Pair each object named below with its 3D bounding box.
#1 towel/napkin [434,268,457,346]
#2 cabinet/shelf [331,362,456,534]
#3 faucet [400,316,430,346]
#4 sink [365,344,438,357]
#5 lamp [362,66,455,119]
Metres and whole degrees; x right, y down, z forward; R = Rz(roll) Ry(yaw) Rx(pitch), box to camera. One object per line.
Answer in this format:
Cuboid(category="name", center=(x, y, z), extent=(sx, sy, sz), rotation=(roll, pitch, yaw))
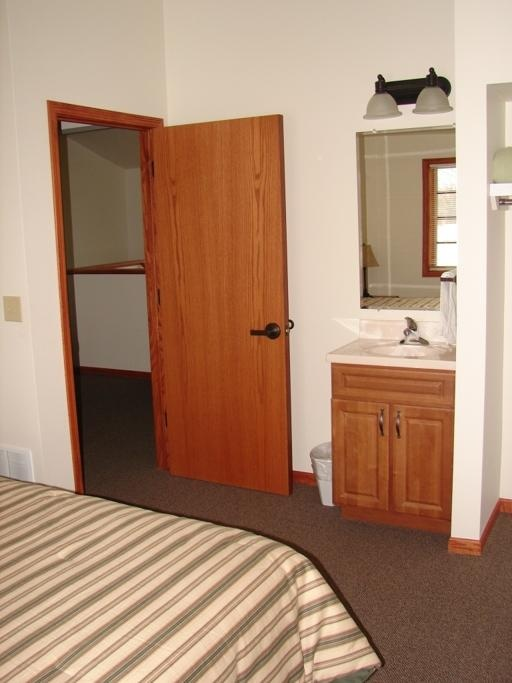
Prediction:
Cuboid(category="towel/napkin", center=(0.934, -0.181, 2.673), extent=(0.086, 0.289, 0.223), rotation=(1, 4, 18))
Cuboid(category="cabinet/shelf", center=(0.747, 0.491, 2.896), extent=(0.611, 0.823, 0.434), rotation=(1, 7, 22))
Cuboid(category="faucet", center=(0.851, -0.056, 2.951), extent=(0.154, 0.150, 0.128), rotation=(6, 1, 20))
Cuboid(category="sink", center=(0.747, 0.037, 2.814), extent=(0.349, 0.075, 0.298), rotation=(6, 2, 17))
Cuboid(category="lamp", center=(0.739, -1.147, 2.635), extent=(0.372, 0.248, 0.411), rotation=(6, 2, 16))
